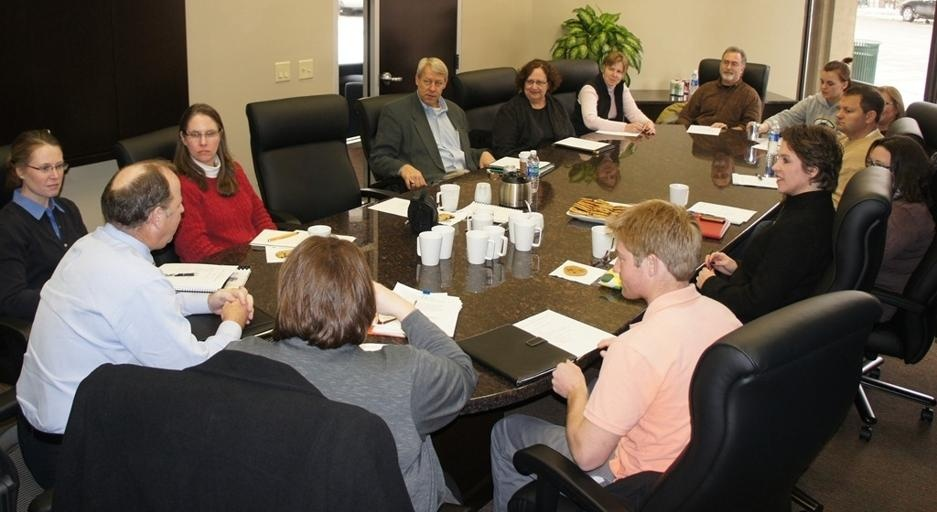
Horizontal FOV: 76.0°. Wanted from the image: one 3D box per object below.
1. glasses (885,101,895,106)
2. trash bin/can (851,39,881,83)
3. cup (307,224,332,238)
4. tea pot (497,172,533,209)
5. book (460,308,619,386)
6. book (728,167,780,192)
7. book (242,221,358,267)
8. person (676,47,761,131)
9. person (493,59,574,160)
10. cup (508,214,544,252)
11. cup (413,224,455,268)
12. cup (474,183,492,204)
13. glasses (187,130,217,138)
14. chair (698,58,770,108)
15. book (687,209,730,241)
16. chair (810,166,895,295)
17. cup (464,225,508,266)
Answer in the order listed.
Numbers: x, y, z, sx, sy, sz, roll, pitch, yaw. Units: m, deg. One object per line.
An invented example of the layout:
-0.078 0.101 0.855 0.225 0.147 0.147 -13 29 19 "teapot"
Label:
3.707 -1.332 5.244 0.116 0.049 0.031 -12 22 -25 "glasses"
5.205 -2.638 8.050 0.367 0.515 0.375 -8 12 -42 "trash bin/can"
-0.790 -0.132 3.156 0.107 0.083 0.113 0 6 0 "cup"
0.327 -0.449 3.940 0.255 0.220 0.193 2 17 1 "tea pot"
0.317 0.398 2.773 0.612 0.061 0.463 -20 26 -36 "book"
2.091 -0.550 4.384 0.273 0.267 0.196 5 8 29 "book"
-0.913 -0.025 3.344 0.498 0.014 0.425 -1 19 -21 "book"
2.820 -1.764 6.693 0.785 1.064 0.762 0 13 -44 "person"
0.615 -1.308 5.620 0.860 0.959 0.664 -12 32 -17 "person"
0.319 -0.151 3.489 0.161 0.168 0.235 -15 26 -33 "cup"
-0.186 -0.045 3.199 0.167 0.176 0.243 -1 11 -4 "cup"
0.091 -0.420 3.939 0.134 0.125 0.132 1 13 0 "cup"
-1.677 -0.770 3.771 0.080 0.023 0.076 -1 -4 -16 "glasses"
3.068 -2.142 7.085 0.573 0.797 0.709 19 36 34 "chair"
1.456 -0.189 3.587 0.284 0.074 0.264 14 40 24 "book"
1.986 -0.106 3.057 0.235 0.564 0.486 12 24 33 "chair"
0.068 -0.081 3.348 0.167 0.177 0.244 -17 28 -34 "cup"
